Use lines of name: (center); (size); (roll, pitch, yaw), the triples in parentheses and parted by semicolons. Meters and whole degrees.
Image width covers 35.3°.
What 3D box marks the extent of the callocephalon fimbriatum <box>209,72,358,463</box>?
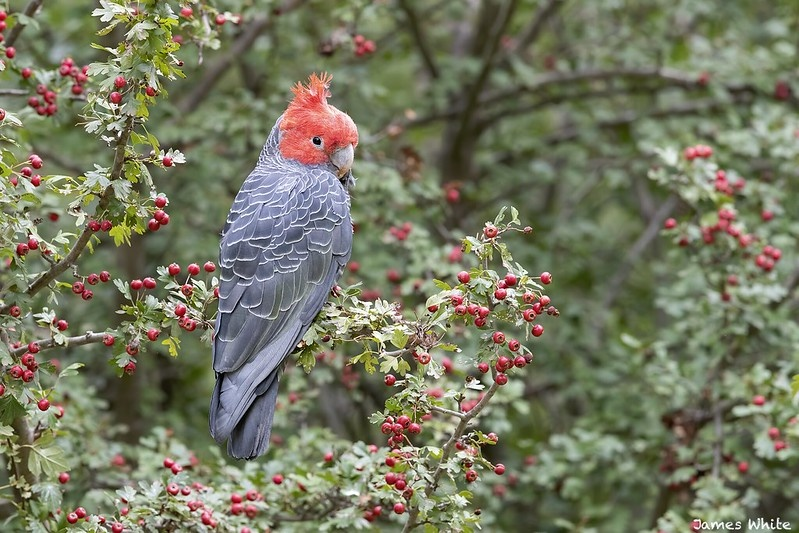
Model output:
callocephalon fimbriatum: (-0.718, -0.029, 7.644); (0.786, 2.332, 0.559); (19, -27, -9)
